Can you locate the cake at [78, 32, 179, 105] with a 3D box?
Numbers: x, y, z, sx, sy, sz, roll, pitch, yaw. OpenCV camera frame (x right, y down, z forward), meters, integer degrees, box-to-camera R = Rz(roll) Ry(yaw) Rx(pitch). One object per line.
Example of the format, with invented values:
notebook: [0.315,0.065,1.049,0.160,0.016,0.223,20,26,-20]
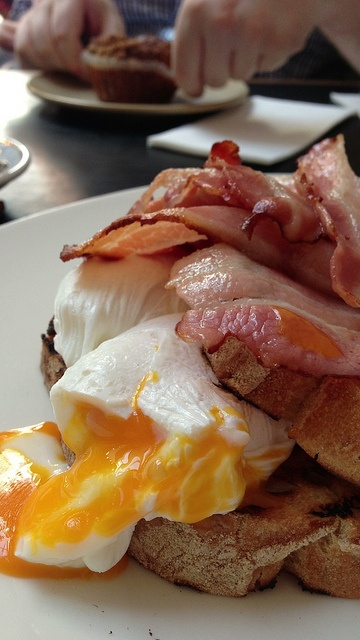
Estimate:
cake: [-0.224,-1.158,2.714,0.344,0.181,0.334,-3,21,-10]
